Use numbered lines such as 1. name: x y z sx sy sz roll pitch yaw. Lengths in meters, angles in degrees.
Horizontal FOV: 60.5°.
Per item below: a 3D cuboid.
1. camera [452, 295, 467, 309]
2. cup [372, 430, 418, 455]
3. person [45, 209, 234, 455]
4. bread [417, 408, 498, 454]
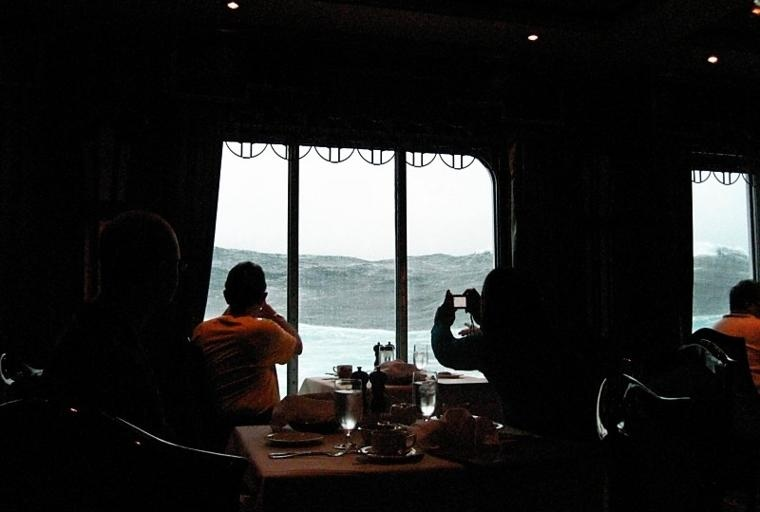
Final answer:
1. camera: 0.288 0.164 2.357 0.050 0.045 0.048 0 -2 -6
2. cup: 0.035 0.520 1.823 0.097 0.043 0.068 1 -10 -2
3. person: -0.713 0.285 2.078 0.309 0.743 0.729 2 -1 2
4. bread: 0.219 0.482 1.856 0.154 0.054 0.150 0 -3 -3
